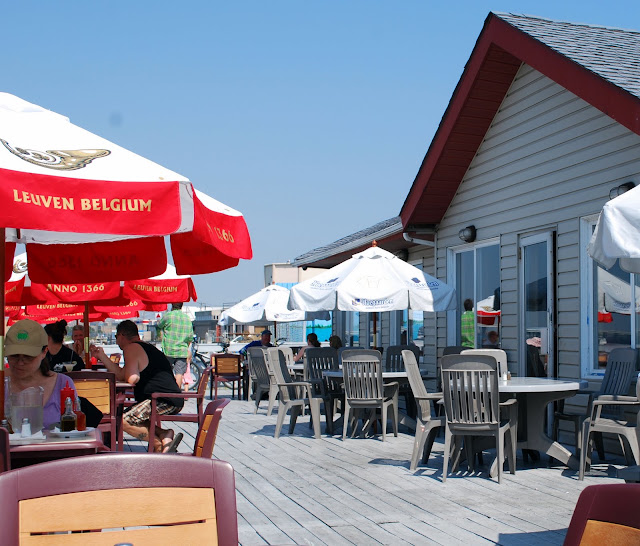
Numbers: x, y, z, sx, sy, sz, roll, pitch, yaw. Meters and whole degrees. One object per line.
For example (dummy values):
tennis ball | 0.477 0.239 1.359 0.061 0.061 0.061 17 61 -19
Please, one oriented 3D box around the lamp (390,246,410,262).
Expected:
lamp | 1.647 -0.396 15.199 0.301 0.489 0.275 2 -3 -18

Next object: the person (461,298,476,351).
person | 2.327 0.781 11.760 0.221 0.787 0.625 -1 -9 10

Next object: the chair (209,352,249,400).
chair | -1.999 2.221 16.116 0.958 0.999 0.900 5 -8 -44

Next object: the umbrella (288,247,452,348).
umbrella | 0.653 0.064 9.988 2.109 0.927 0.859 -2 -9 14

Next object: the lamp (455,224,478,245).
lamp | 2.271 -0.611 11.632 0.201 0.286 0.542 1 -8 -4

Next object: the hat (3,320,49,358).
hat | -1.806 0.403 4.537 0.189 0.130 0.253 2 3 -7

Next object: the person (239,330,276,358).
person | -1.429 1.520 16.109 1.086 0.549 0.644 1 -3 29

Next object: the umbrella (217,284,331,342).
umbrella | -0.990 0.646 16.986 1.908 0.740 1.800 5 6 7

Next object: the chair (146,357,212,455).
chair | -1.381 1.384 7.584 0.634 0.739 0.647 -2 -8 14

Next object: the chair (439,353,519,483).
chair | 1.504 1.352 7.131 0.876 1.078 0.883 2 -8 -14

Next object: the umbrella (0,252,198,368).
umbrella | -2.700 0.314 10.033 2.796 1.805 2.705 -1 3 -25

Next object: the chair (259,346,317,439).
chair | -0.260 1.597 10.044 0.811 1.138 0.690 0 -7 13

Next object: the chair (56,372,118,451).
chair | -1.824 1.164 6.105 0.400 0.538 0.421 -11 13 26

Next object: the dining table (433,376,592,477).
dining table | 2.000 1.457 7.446 1.082 0.750 1.041 8 -3 -43
